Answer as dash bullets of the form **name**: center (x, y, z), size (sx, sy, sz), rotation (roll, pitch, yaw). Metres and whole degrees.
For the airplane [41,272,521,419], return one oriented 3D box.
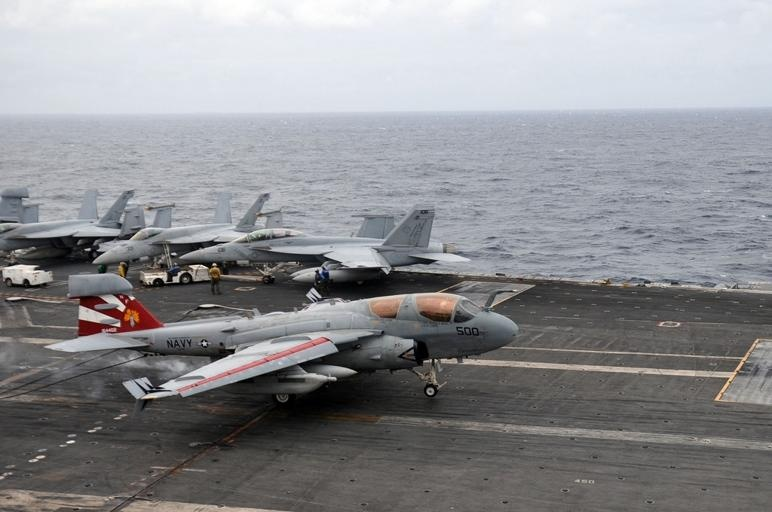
- **airplane**: center (-4.425, 3.657, 31.163), size (15.340, 1.958, 9.908), rotation (-1, 7, 1)
